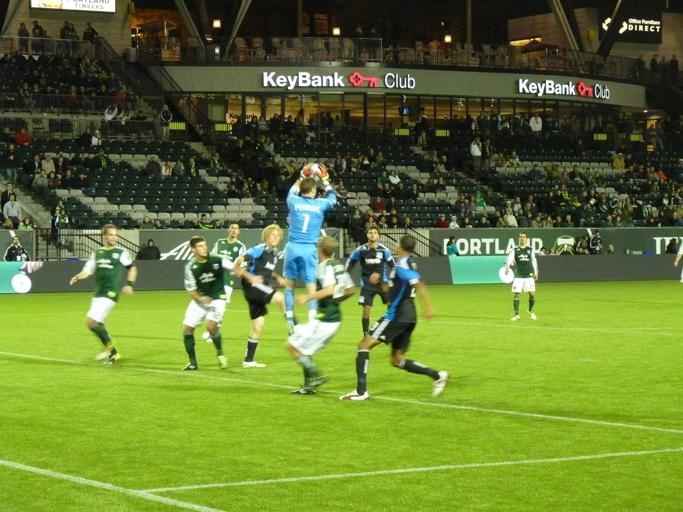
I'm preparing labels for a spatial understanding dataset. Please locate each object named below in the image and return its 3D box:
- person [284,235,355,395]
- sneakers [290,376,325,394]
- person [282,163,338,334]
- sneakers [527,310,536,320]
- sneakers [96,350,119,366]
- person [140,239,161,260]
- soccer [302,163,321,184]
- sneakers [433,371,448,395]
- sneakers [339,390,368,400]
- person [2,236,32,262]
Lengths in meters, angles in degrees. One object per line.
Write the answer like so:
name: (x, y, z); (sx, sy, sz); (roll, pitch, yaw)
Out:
person: (-0.312, 0.896, 13.779); (0.980, 2.379, 0.712); (0, -1, 38)
sneakers: (-0.474, 1.964, 14.170); (0.650, 0.300, 0.228); (-8, -15, 27)
person: (-0.685, -0.115, 17.236); (0.934, 3.248, 1.068); (-5, 13, -44)
sneakers: (4.757, 1.464, 23.329); (0.123, 0.133, 0.307); (-8, 21, 0)
sneakers: (-4.089, 1.800, 16.675); (0.504, 0.231, 0.190); (6, 7, 2)
person: (-6.521, -0.209, 32.019); (0.715, 0.699, 0.588); (1, -1, -21)
soccer: (-0.532, -1.489, 16.457); (0.347, 0.332, 0.519); (0, -1, -11)
sneakers: (1.476, 1.891, 14.001); (0.157, 0.417, 0.145); (3, -8, 8)
sneakers: (0.170, 2.052, 13.925); (0.425, 0.191, 0.159); (3, -4, 4)
person: (-10.554, -0.239, 30.331); (0.789, 1.487, 0.459); (0, 0, -31)
